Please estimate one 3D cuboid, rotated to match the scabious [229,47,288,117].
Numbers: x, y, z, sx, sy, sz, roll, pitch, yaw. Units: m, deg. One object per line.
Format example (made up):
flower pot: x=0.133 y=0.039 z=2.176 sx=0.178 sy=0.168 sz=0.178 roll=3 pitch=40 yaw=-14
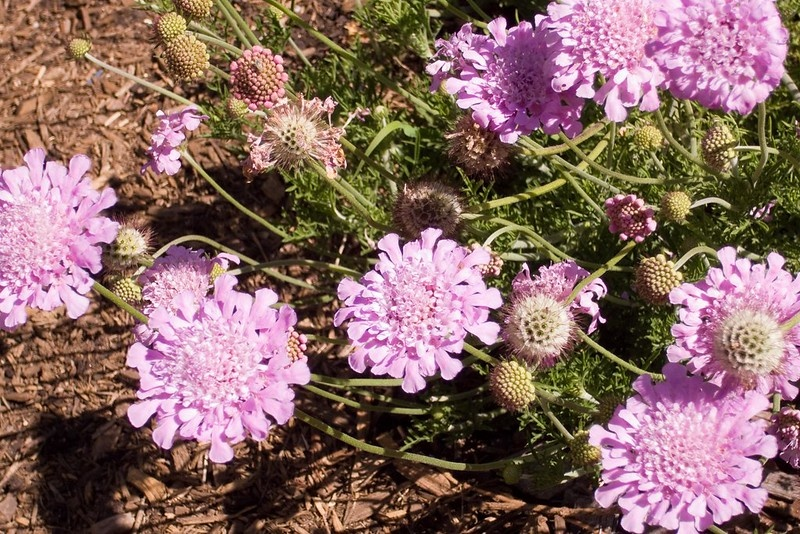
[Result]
scabious: x=-0.969 y=-1.302 z=5.382 sx=0.424 sy=0.181 sz=0.404 roll=32 pitch=92 yaw=-6
